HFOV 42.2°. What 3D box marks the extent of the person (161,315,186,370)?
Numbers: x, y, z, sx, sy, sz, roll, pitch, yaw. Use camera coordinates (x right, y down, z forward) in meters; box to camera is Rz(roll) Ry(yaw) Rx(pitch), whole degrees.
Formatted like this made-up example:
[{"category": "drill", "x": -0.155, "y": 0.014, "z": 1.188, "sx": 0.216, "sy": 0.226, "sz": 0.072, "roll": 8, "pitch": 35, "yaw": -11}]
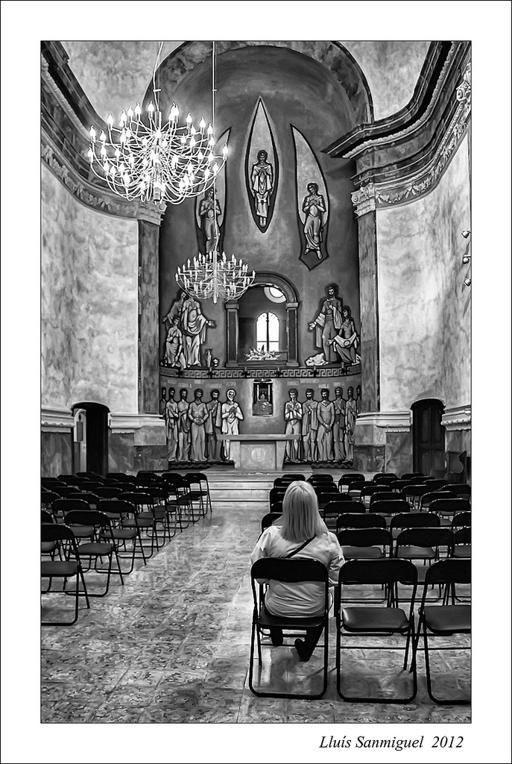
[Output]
[{"category": "person", "x": -2.259, "y": -1.059, "z": 18.065, "sx": 0.205, "sy": 1.393, "sz": 0.808, "roll": -2, "pitch": -2, "yaw": 38}]
